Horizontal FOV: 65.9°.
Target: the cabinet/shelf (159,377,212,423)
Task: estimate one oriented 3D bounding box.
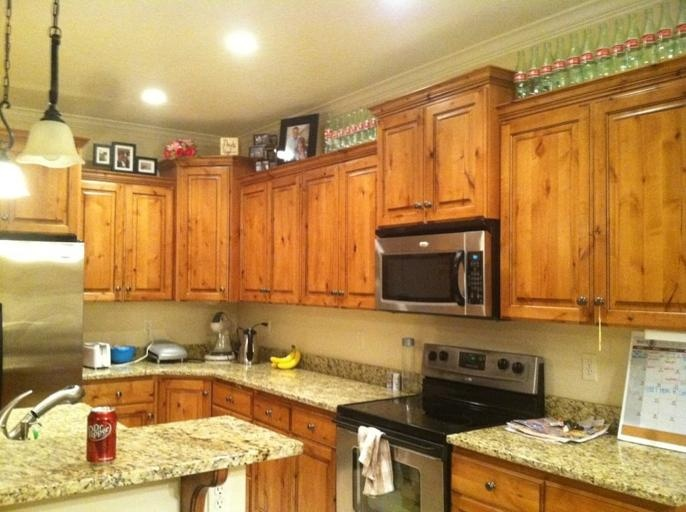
[{"bbox_3d":[-1.314,1.169,4.479,0.419,0.545,0.381,3,-9,-23],"label":"cabinet/shelf"}]

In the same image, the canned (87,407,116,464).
[{"bbox_3d":[-0.926,0.690,2.050,0.107,0.211,0.143,3,-4,-22],"label":"canned"}]

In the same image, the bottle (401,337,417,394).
[{"bbox_3d":[0.470,0.757,3.708,0.114,0.379,0.155,2,-4,6],"label":"bottle"}]

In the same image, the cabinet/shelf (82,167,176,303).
[{"bbox_3d":[-1.898,-0.143,4.839,0.932,1.088,0.391,3,4,5],"label":"cabinet/shelf"}]

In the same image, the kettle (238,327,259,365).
[{"bbox_3d":[-0.831,0.834,4.777,0.196,0.296,0.320,3,0,-19],"label":"kettle"}]

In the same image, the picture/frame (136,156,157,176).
[{"bbox_3d":[-1.819,-0.829,4.920,0.245,0.191,0.020,1,-3,-36],"label":"picture/frame"}]

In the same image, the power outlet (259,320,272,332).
[{"bbox_3d":[-0.720,0.662,4.980,0.118,0.107,0.105,3,-4,-16],"label":"power outlet"}]

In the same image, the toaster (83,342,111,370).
[{"bbox_3d":[-2.065,0.809,4.460,0.199,0.250,0.352,-4,4,-35],"label":"toaster"}]

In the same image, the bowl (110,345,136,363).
[{"bbox_3d":[-1.916,0.862,4.642,0.157,0.098,0.158,-2,-12,0],"label":"bowl"}]

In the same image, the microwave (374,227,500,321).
[{"bbox_3d":[0.579,0.133,3.247,0.790,0.474,0.364,-1,-3,43],"label":"microwave"}]

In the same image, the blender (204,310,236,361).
[{"bbox_3d":[-1.128,0.751,4.945,0.252,0.444,0.268,3,-4,-21],"label":"blender"}]

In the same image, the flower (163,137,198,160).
[{"bbox_3d":[-1.479,-0.971,4.859,0.260,0.218,0.106,-1,-11,-3],"label":"flower"}]

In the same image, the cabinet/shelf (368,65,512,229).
[{"bbox_3d":[0.641,-0.600,3.288,0.399,0.811,0.972,-1,0,-36],"label":"cabinet/shelf"}]

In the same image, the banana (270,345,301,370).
[{"bbox_3d":[-0.493,0.897,4.567,0.260,0.149,0.151,-20,19,-31],"label":"banana"}]
